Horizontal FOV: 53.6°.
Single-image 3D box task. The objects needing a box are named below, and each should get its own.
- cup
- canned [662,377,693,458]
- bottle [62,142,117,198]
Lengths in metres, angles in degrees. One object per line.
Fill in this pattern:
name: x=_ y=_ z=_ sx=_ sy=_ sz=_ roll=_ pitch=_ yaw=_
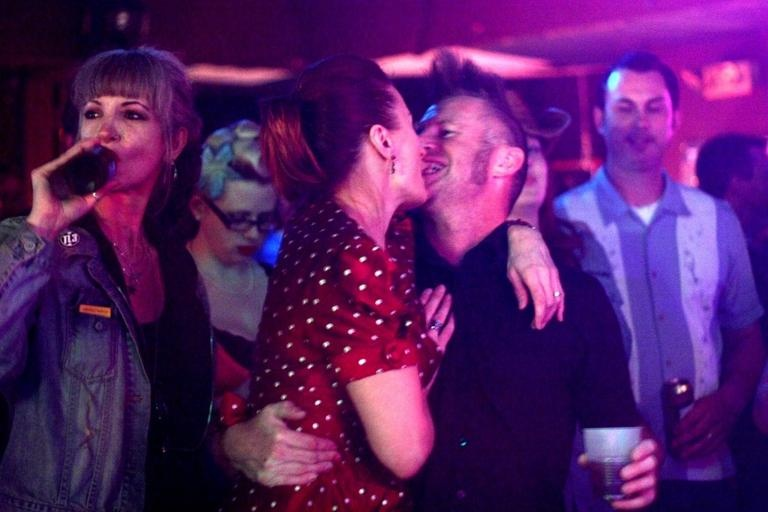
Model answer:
cup: x=0.829 y=0.764 z=2.849 sx=0.243 sy=0.285 sz=0.242 roll=-1 pitch=-5 yaw=0
canned: x=1.215 y=0.672 z=3.176 sx=0.192 sy=0.278 sz=0.071 roll=-5 pitch=15 yaw=-32
bottle: x=-0.983 y=-0.290 z=2.581 sx=0.176 sy=0.123 sz=0.174 roll=11 pitch=16 yaw=-3
